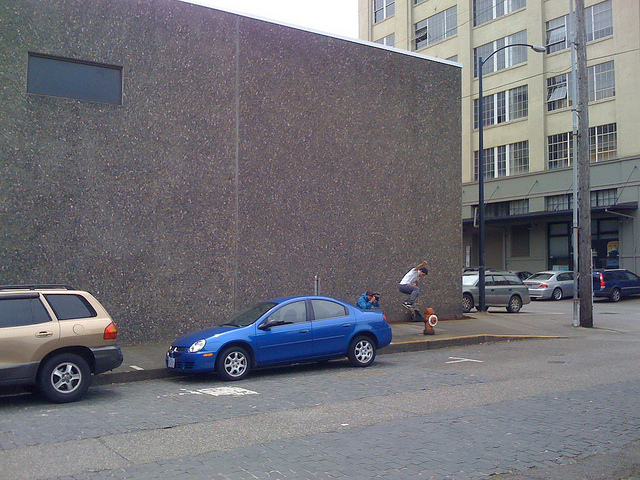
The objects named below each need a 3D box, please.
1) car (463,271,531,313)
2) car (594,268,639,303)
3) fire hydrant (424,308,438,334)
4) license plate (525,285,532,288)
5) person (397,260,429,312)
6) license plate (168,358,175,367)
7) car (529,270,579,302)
[{"bbox_3d":[7.024,2.145,26.567,3.671,1.694,1.063,-2,3,-39],"label":"car"},{"bbox_3d":[15.036,2.237,33.164,2.992,1.173,1.367,-6,3,-34],"label":"car"},{"bbox_3d":[3.122,2.309,18.584,0.312,0.782,0.458,0,2,4],"label":"fire hydrant"},{"bbox_3d":[10.745,2.364,33.615,0.128,0.140,0.280,-1,2,-32],"label":"license plate"},{"bbox_3d":[2.954,1.483,21.195,0.793,1.542,1.031,8,-28,1],"label":"person"},{"bbox_3d":[-3.127,2.560,13.659,0.027,0.197,0.209,3,-2,-40],"label":"license plate"},{"bbox_3d":[11.982,2.390,33.674,2.403,1.494,1.116,-1,2,-23],"label":"car"}]
